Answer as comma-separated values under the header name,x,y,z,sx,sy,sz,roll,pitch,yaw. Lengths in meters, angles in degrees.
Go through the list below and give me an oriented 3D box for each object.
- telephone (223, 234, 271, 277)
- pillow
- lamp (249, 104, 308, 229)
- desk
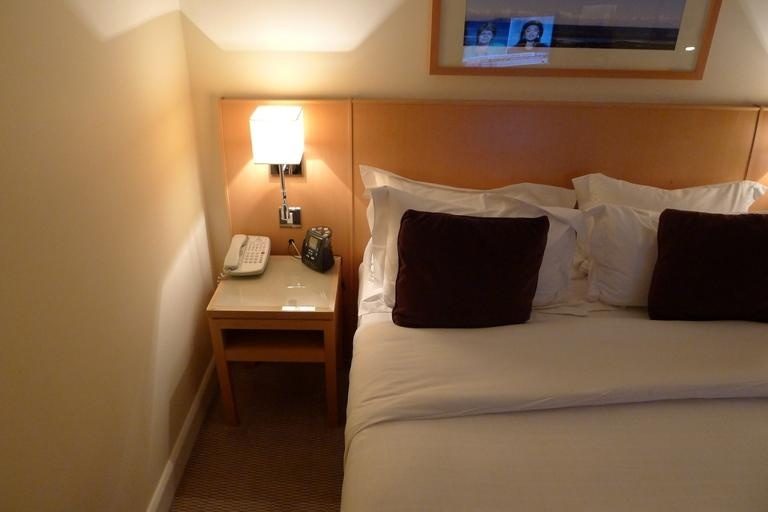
name,x,y,z,sx,sy,sz,roll,pitch,yaw
telephone,-0.751,-0.016,3.114,0.253,0.125,0.322,-4,30,10
pillow,1.076,-0.050,3.270,2.030,0.742,0.226,-6,0,-14
lamp,-0.557,-0.467,2.962,0.266,0.663,0.278,0,13,-8
desk,-0.586,0.462,3.177,0.785,0.683,0.769,5,21,10
